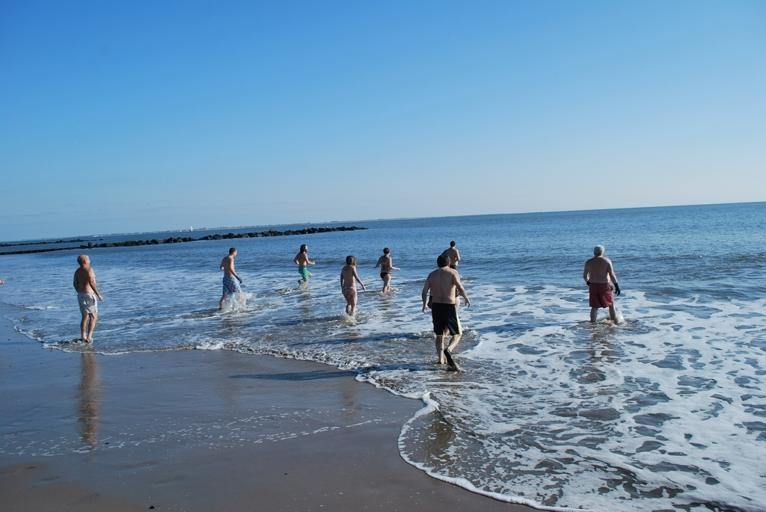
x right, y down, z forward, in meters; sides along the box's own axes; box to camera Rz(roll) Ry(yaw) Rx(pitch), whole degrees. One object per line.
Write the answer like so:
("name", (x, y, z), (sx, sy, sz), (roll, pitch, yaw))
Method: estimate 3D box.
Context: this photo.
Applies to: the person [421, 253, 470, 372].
("person", (1.302, 1.134, 13.184), (0.892, 2.302, 1.023), (-3, 10, 3))
